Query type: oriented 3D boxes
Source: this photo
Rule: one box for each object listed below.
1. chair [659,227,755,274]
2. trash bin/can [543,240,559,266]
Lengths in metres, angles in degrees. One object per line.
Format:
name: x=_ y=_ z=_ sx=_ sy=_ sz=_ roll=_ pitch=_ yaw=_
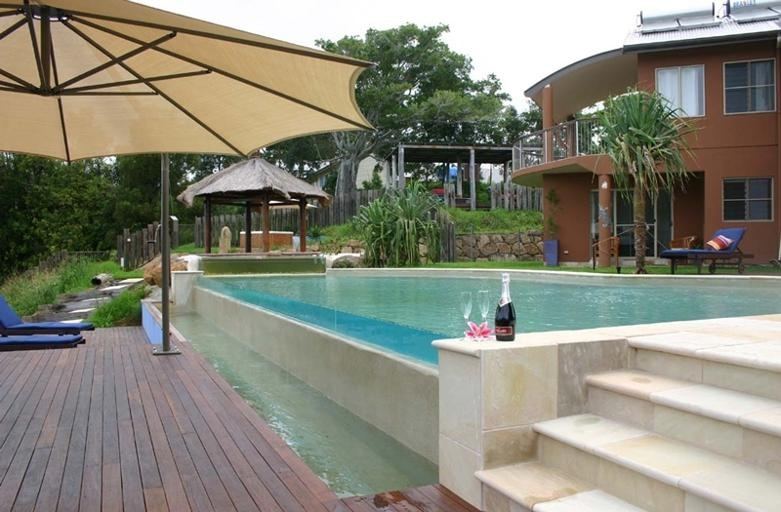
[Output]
chair: x=6.934 y=-0.150 z=11.959 sx=1.916 sy=1.108 sz=1.229 roll=4 pitch=-9 yaw=-34
trash bin/can: x=4.807 y=-0.103 z=16.519 sx=0.415 sy=0.812 sz=0.490 roll=-3 pitch=-7 yaw=16
